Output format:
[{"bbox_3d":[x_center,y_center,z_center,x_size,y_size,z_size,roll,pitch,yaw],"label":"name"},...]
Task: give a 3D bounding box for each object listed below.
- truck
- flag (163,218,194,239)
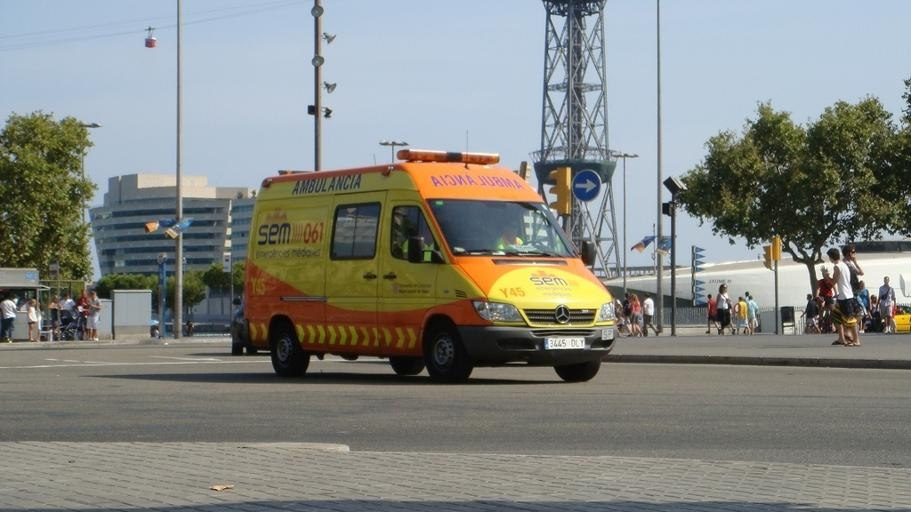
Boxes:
[{"bbox_3d":[-0.827,0.299,36.238,9.270,4.988,2.532,2,-1,26],"label":"truck"},{"bbox_3d":[-12.550,-1.290,61.346,1.105,0.796,2.276,2,-1,-13],"label":"flag"}]
